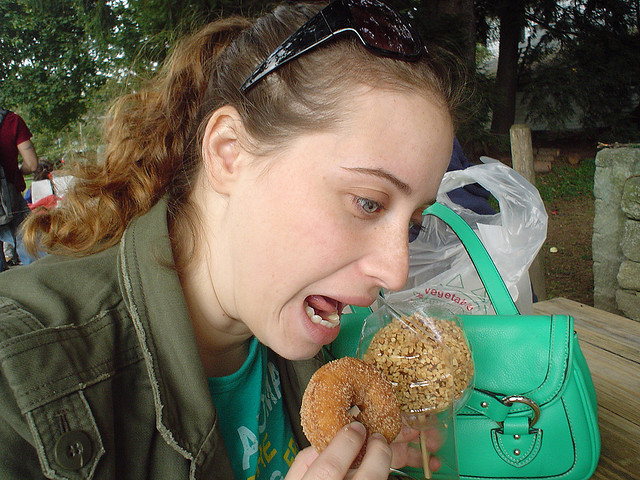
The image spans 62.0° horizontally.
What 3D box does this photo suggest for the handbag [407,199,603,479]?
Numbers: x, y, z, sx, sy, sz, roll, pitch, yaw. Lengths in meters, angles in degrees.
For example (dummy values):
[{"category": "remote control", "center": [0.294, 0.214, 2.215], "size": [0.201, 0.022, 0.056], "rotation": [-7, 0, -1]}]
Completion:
[{"category": "handbag", "center": [0.764, 0.419, 2.269], "size": [0.937, 1.144, 0.450], "rotation": [-3, -4, 6]}]
